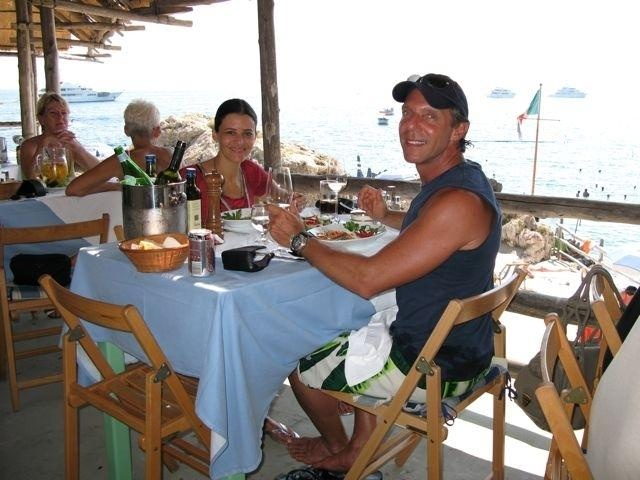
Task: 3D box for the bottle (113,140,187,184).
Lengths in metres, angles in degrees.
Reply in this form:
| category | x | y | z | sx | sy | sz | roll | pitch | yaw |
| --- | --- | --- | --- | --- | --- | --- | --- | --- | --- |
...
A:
| category | x | y | z | sx | sy | sz | roll | pitch | yaw |
| --- | --- | --- | --- | --- | --- | --- | --- | --- | --- |
| bottle | -0.690 | -0.320 | 2.045 | 0.263 | 0.171 | 0.353 | -2 | 15 | -15 |

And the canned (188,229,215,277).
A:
| category | x | y | z | sx | sy | sz | roll | pitch | yaw |
| --- | --- | --- | --- | --- | --- | --- | --- | --- | --- |
| canned | -0.412 | 0.044 | 1.705 | 0.089 | 0.149 | 0.081 | -2 | 16 | -13 |

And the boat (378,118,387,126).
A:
| category | x | y | z | sx | sy | sz | roll | pitch | yaw |
| --- | --- | --- | --- | --- | --- | --- | --- | --- | --- |
| boat | 7.663 | -14.610 | 61.819 | 1.194 | 0.840 | 2.421 | 0 | 11 | 6 |

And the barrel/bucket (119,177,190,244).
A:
| category | x | y | z | sx | sy | sz | roll | pitch | yaw |
| --- | --- | --- | --- | --- | --- | --- | --- | --- | --- |
| barrel/bucket | -0.660 | -0.117 | 1.951 | 0.257 | 0.250 | 0.242 | 0 | 4 | 0 |

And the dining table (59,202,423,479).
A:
| category | x | y | z | sx | sy | sz | roll | pitch | yaw |
| --- | --- | --- | --- | --- | --- | --- | --- | --- | --- |
| dining table | -0.373 | 0.257 | 1.860 | 0.916 | 0.519 | 1.129 | 10 | 17 | 35 |

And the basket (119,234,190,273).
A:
| category | x | y | z | sx | sy | sz | roll | pitch | yaw |
| --- | --- | --- | --- | --- | --- | --- | --- | --- | --- |
| basket | -0.590 | 0.043 | 1.757 | 0.185 | 0.065 | 0.174 | 2 | 13 | 2 |
